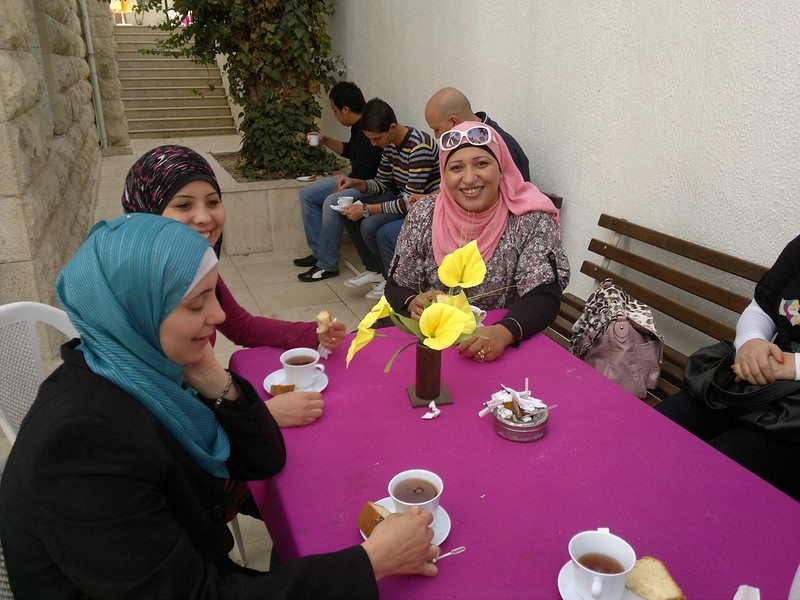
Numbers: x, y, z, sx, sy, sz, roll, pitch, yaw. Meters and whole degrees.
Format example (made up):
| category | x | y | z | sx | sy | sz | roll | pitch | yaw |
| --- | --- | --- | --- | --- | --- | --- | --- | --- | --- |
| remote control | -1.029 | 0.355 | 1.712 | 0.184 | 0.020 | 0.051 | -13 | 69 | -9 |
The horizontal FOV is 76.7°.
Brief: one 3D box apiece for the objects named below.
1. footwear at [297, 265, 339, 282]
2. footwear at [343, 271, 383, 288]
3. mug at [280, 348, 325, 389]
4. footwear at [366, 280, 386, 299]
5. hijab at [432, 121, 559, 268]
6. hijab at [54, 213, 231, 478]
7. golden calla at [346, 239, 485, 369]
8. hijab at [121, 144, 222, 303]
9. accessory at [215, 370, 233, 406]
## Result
| category | x | y | z | sx | sy | sz | roll | pitch | yaw |
| --- | --- | --- | --- | --- | --- | --- | --- | --- | --- |
| footwear | -0.797 | -0.259 | 4.932 | 0.387 | 0.165 | 0.145 | -3 | 13 | -16 |
| footwear | -0.337 | -0.191 | 4.761 | 0.392 | 0.163 | 0.144 | -5 | 23 | -11 |
| mug | -0.359 | 0.236 | 1.828 | 0.139 | 0.104 | 0.127 | 18 | 29 | 30 |
| footwear | -0.211 | -0.094 | 4.380 | 0.251 | 0.112 | 0.084 | -20 | 28 | -29 |
| hijab | 0.434 | -0.576 | 2.705 | 0.636 | 0.737 | 0.477 | -7 | -4 | 3 |
| hijab | -0.730 | 0.152 | 1.456 | 0.417 | 0.741 | 0.471 | -6 | 8 | -23 |
| golden calla | 0.083 | -0.063 | 1.607 | 0.433 | 0.209 | 0.441 | -31 | 37 | 10 |
| hijab | -0.967 | -0.372 | 2.128 | 0.395 | 0.500 | 0.354 | 2 | 4 | 38 |
| accessory | -0.532 | 0.273 | 1.527 | 0.056 | 0.077 | 0.020 | -5 | -18 | 8 |
